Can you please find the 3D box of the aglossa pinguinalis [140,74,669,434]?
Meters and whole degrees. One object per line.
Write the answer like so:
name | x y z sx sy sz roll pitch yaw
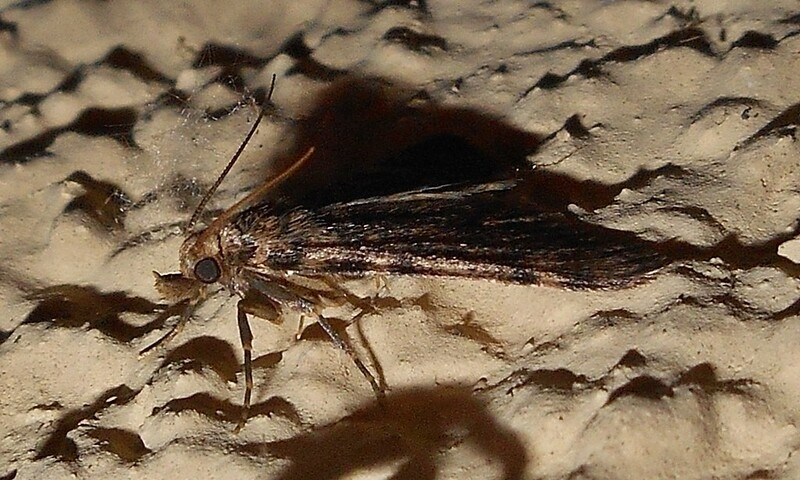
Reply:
aglossa pinguinalis | 0.248 0.130 9.831 3.678 1.814 1.896 -3 -58 9

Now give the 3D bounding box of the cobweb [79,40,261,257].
cobweb | -1.179 -0.570 9.385 0.204 0.626 1.210 34 -50 -11
